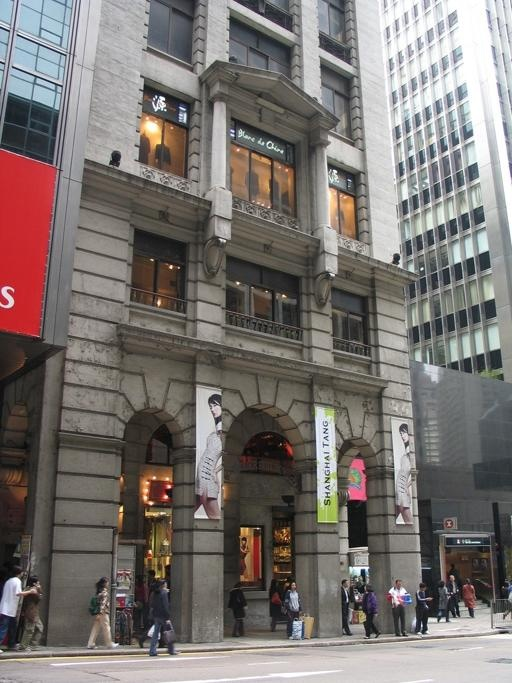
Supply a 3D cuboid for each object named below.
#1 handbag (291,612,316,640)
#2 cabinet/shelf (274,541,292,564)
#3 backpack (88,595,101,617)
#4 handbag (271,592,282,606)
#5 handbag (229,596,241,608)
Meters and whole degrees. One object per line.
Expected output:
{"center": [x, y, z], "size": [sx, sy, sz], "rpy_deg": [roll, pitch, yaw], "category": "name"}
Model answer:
{"center": [1.357, 8.414, 17.402], "size": [0.494, 0.581, 1.199], "rpy_deg": [-7, -17, 20], "category": "handbag"}
{"center": [1.088, 8.833, 24.793], "size": [1.122, 1.026, 0.601], "rpy_deg": [1, -26, 0], "category": "cabinet/shelf"}
{"center": [-3.414, 5.572, 12.518], "size": [0.140, 0.438, 0.308], "rpy_deg": [10, -14, -21], "category": "backpack"}
{"center": [0.671, 9.053, 20.908], "size": [0.338, 0.430, 0.432], "rpy_deg": [7, -8, -14], "category": "handbag"}
{"center": [-0.673, 7.761, 17.741], "size": [0.180, 0.401, 0.434], "rpy_deg": [13, -21, -38], "category": "handbag"}
